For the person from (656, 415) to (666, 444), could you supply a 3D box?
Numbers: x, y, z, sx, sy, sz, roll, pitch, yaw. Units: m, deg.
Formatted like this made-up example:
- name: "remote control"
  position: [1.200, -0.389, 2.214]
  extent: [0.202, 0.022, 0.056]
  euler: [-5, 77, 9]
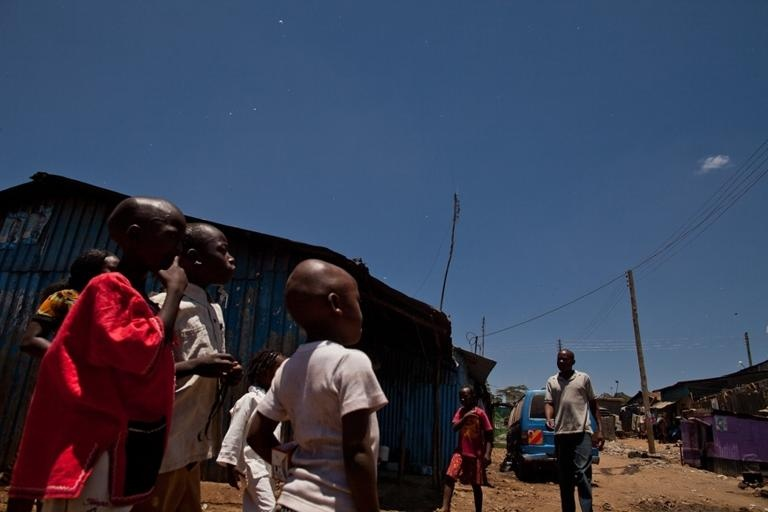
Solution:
- name: "person"
  position: [14.620, 9.085, 25.128]
  extent: [0.364, 1.261, 2.361]
  euler: [-7, -22, 27]
